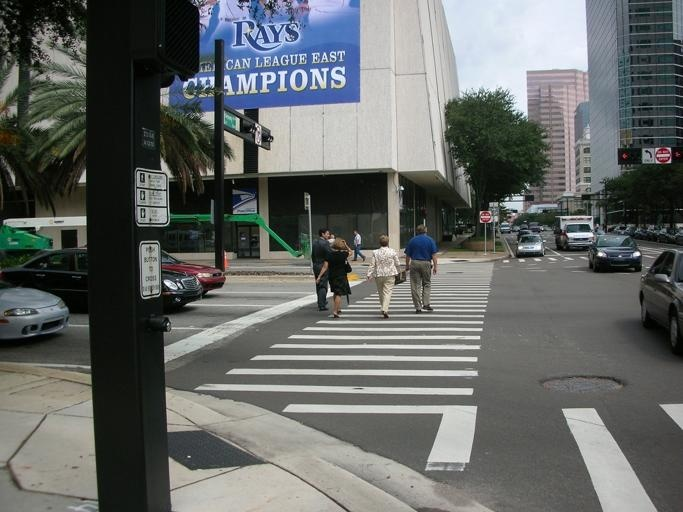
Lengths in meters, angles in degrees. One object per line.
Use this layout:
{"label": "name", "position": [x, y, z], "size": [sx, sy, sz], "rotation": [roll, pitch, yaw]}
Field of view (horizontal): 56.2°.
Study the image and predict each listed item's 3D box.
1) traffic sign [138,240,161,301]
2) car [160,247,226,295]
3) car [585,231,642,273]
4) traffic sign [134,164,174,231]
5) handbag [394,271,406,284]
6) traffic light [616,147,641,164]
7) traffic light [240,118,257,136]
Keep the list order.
{"label": "traffic sign", "position": [-1.592, 0.114, 5.320], "size": [0.018, 0.479, 0.245], "rotation": [1, 4, 26]}
{"label": "car", "position": [-4.532, 0.511, 19.022], "size": [2.087, 0.842, 0.960], "rotation": [3, 5, 18]}
{"label": "car", "position": [11.598, -0.084, 27.034], "size": [1.919, 1.435, 1.970], "rotation": [2, 4, 32]}
{"label": "traffic sign", "position": [-1.568, -0.484, 5.363], "size": [0.156, 0.494, 0.420], "rotation": [0, 4, 14]}
{"label": "handbag", "position": [1.841, 0.678, 20.098], "size": [0.364, 0.617, 0.570], "rotation": [0, -7, 1]}
{"label": "traffic light", "position": [15.375, -5.342, 33.996], "size": [1.103, 0.997, 3.996], "rotation": [1, 4, 25]}
{"label": "traffic light", "position": [-3.484, -4.799, 24.070], "size": [0.361, 0.581, 0.898], "rotation": [1, 4, 20]}
